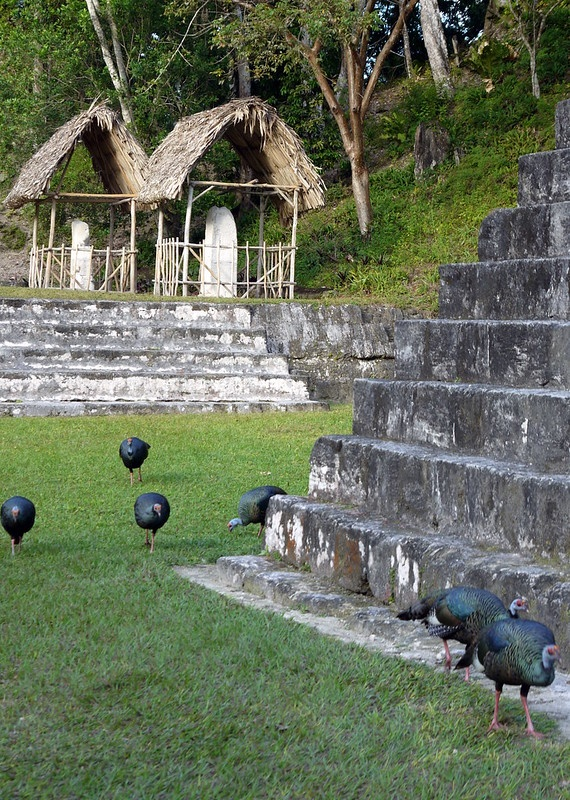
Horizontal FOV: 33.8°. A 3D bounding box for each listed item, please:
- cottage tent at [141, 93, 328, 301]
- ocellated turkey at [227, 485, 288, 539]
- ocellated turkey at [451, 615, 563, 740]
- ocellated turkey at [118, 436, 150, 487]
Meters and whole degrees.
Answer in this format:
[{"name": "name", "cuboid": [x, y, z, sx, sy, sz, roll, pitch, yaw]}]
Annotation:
[{"name": "cottage tent", "cuboid": [-1.238, -3.854, 17.317, 3.380, 4.655, 1.779, -9, 12, -37]}, {"name": "ocellated turkey", "cuboid": [-0.179, 0.598, 5.191, 0.368, 0.262, 0.190, -37, 14, 0]}, {"name": "ocellated turkey", "cuboid": [0.599, 0.731, 2.500, 0.122, 0.301, 0.367, 0, 1, -20]}, {"name": "ocellated turkey", "cuboid": [-1.083, 0.455, 6.679, 0.116, 0.385, 0.425, 0, 24, -2]}]
